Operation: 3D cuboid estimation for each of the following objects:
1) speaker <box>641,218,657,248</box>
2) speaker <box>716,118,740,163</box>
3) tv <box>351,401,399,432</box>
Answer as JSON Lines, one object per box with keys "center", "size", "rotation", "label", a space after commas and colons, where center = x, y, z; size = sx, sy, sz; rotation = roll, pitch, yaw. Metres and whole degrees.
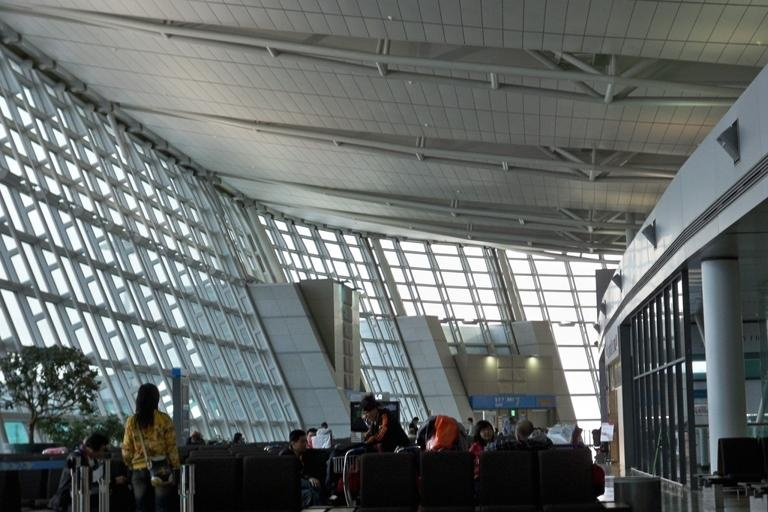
{"center": [6.247, -0.479, 19.252], "size": [0.264, 0.628, 0.874], "rotation": [8, -7, 6], "label": "speaker"}
{"center": [6.120, -2.036, 14.543], "size": [0.277, 0.736, 0.803], "rotation": [-3, -16, 10], "label": "speaker"}
{"center": [-0.319, 5.070, 26.093], "size": [1.714, 1.019, 0.176], "rotation": [-7, -14, 26], "label": "tv"}
